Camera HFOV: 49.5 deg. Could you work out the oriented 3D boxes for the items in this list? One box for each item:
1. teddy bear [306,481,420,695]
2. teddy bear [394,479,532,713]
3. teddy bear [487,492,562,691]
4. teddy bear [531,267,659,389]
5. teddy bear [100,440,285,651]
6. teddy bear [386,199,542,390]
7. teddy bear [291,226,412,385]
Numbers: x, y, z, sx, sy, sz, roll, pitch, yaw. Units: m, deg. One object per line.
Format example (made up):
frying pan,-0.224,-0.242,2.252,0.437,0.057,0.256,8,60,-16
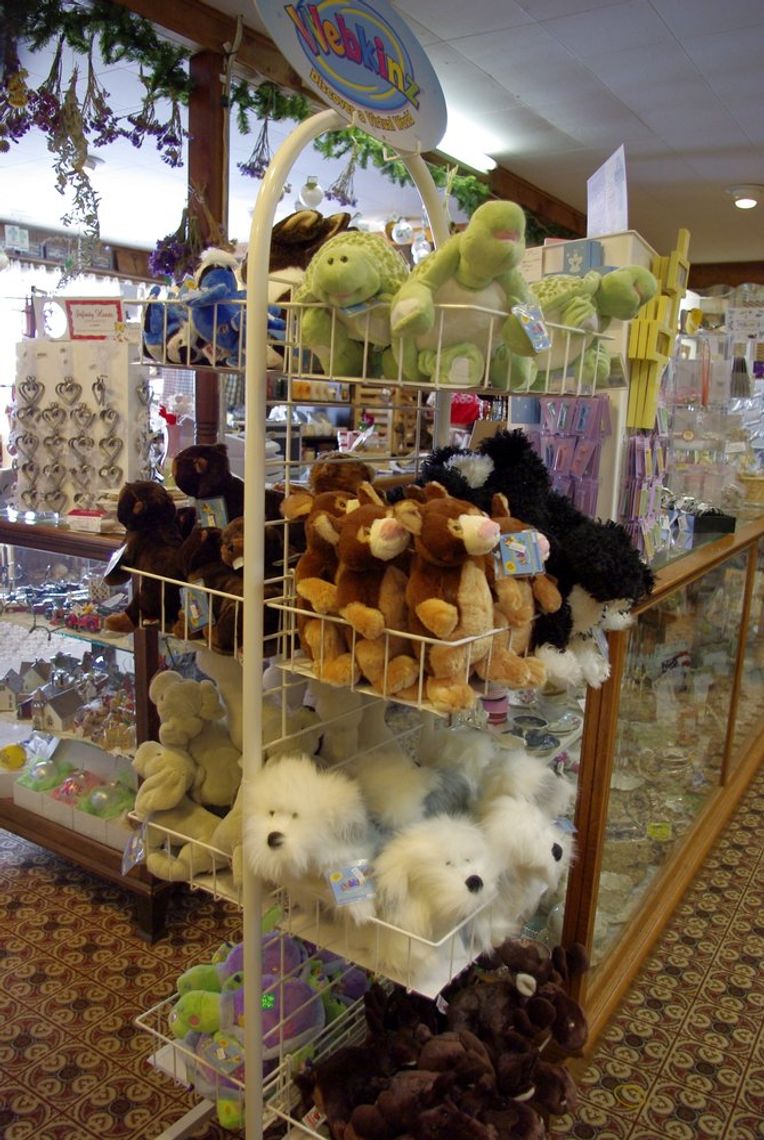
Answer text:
teddy bear,0.001,0.022,0.960,0.140,0.212,0.136,-3,5,36
teddy bear,0.090,0.033,0.929,0.152,0.218,0.125,-15,19,-36
teddy bear,0.163,0.029,0.981,0.096,0.214,0.077,4,8,-37
teddy bear,0.275,-0.375,1.249,0.251,0.148,0.186,1,-12,13
teddy bear,-0.281,-0.046,1.345,0.264,0.212,0.347,-22,41,-29
teddy bear,0.042,-0.314,0.977,0.201,0.243,0.231,-2,20,-12
teddy bear,-0.030,-0.332,1.045,0.143,0.185,0.182,-6,-15,8
